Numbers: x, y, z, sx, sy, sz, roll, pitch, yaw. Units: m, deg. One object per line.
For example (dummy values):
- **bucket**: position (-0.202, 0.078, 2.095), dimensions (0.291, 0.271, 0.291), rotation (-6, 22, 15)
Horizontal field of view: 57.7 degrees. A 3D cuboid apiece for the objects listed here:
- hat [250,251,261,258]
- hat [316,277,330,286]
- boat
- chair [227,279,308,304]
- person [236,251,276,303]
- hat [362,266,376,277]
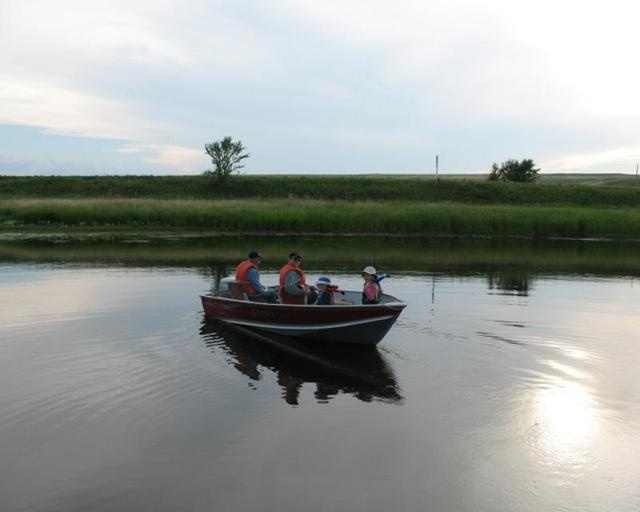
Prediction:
- **hat**: position (-1.501, -0.019, 13.388), dimensions (0.244, 0.129, 0.257), rotation (3, 8, 34)
- **hat**: position (0.087, 0.545, 12.514), dimensions (0.207, 0.171, 0.190), rotation (-8, 12, -44)
- **boat**: position (-0.458, 1.354, 12.564), dimensions (4.018, 0.924, 1.661), rotation (0, 3, 37)
- **chair**: position (-1.211, 0.820, 13.137), dimensions (1.069, 0.284, 0.346), rotation (7, 23, 11)
- **person**: position (-1.421, 0.583, 13.516), dimensions (0.877, 1.396, 0.634), rotation (2, 14, -13)
- **hat**: position (1.054, 0.329, 12.331), dimensions (0.222, 0.190, 0.339), rotation (9, 4, 0)
